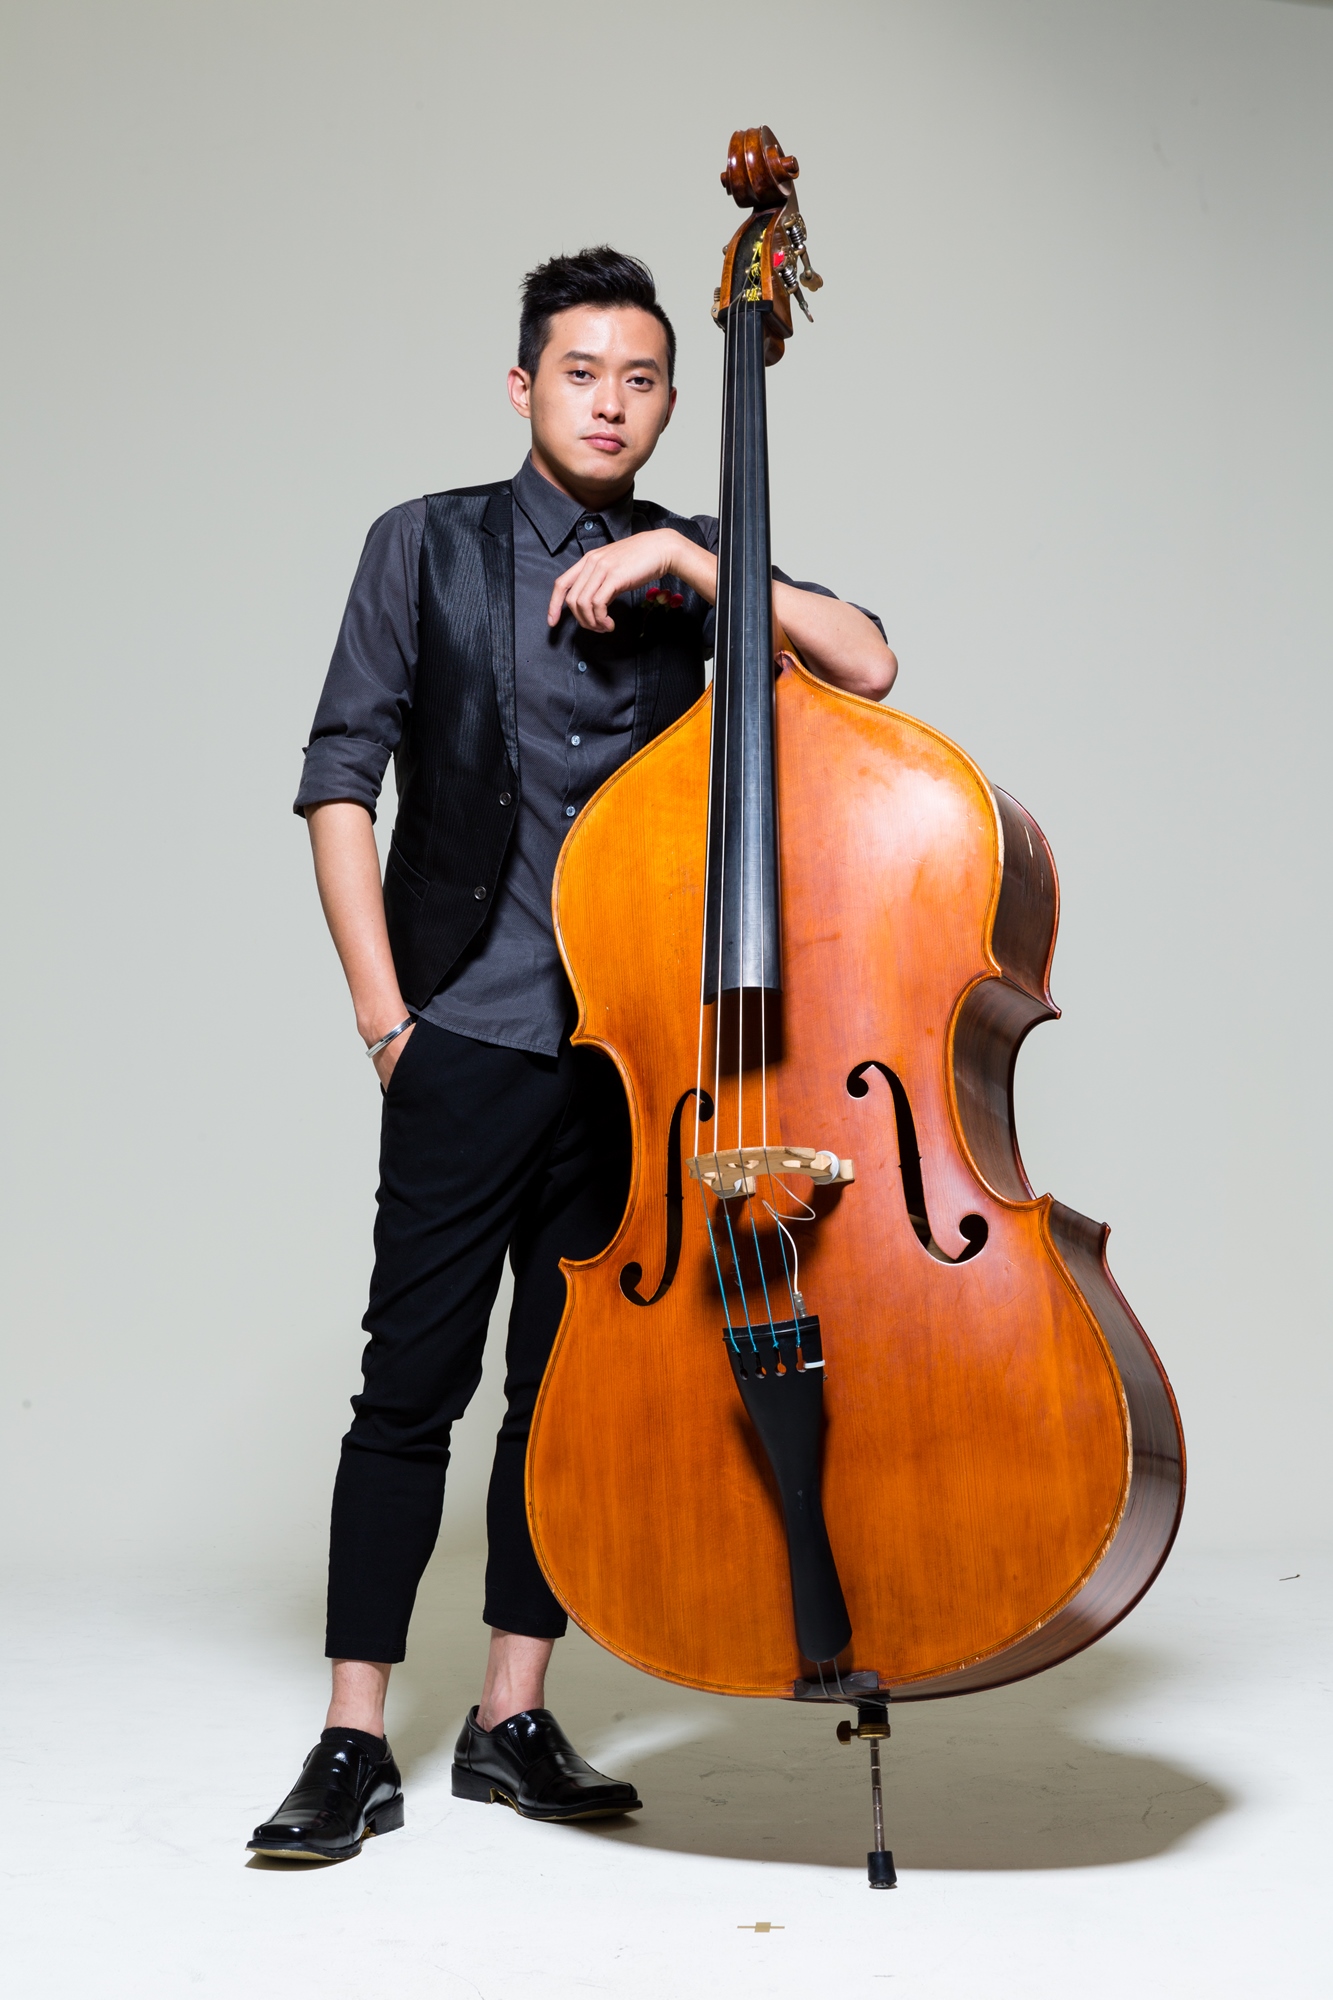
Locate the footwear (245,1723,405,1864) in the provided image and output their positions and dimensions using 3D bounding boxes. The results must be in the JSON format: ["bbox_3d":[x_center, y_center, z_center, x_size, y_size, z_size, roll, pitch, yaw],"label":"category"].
[{"bbox_3d":[-0.332,0.776,1.993,0.088,0.108,0.245,-2,-11,15],"label":"footwear"}]

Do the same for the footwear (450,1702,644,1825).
[{"bbox_3d":[-0.135,0.809,2.142,0.085,0.089,0.216,26,-24,-38],"label":"footwear"}]

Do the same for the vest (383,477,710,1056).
[{"bbox_3d":[-0.170,-0.263,2.122,0.446,0.559,0.157,1,4,-7],"label":"vest"}]

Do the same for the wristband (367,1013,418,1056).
[{"bbox_3d":[-0.283,0.031,2.111,0.039,0.045,0.019,-20,-74,38],"label":"wristband"}]

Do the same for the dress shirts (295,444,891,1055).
[{"bbox_3d":[-0.203,-0.225,2.161,0.610,0.612,0.170,5,1,-1],"label":"dress shirts"}]

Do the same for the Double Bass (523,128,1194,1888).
[{"bbox_3d":[0.160,-0.108,1.913,0.548,1.595,0.403,2,-28,-5],"label":"Double Bass"}]
